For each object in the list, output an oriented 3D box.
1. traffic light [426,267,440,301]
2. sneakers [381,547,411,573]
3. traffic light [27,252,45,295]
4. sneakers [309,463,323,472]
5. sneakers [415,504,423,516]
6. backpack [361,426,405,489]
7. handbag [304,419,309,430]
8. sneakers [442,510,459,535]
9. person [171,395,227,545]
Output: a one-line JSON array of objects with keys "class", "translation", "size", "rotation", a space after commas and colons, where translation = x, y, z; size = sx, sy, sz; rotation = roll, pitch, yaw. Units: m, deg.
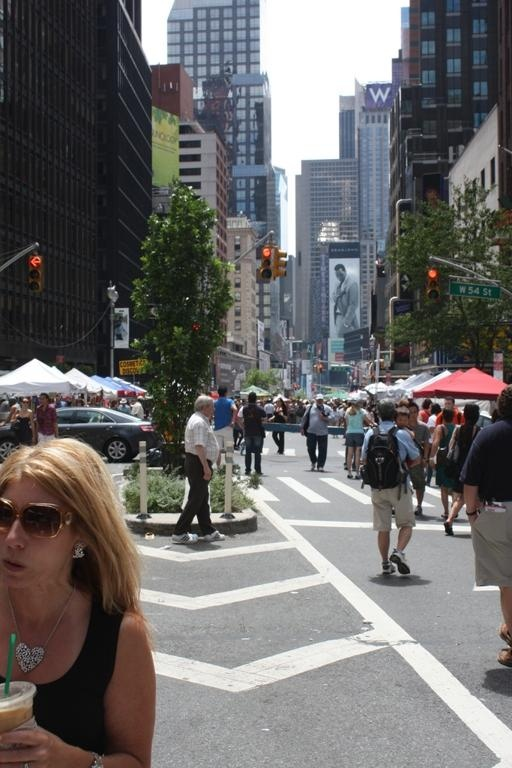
[{"class": "traffic light", "translation": [5.371, -3.065, 26.908], "size": [0.312, 0.648, 0.634], "rotation": [3, -1, 9]}, {"class": "sneakers", "translation": [1.395, 1.783, 8.843], "size": [0.145, 0.213, 0.414], "rotation": [-1, -27, 18]}, {"class": "traffic light", "translation": [-6.133, -3.091, 24.526], "size": [0.351, 0.970, 0.561], "rotation": [3, -1, -26]}, {"class": "sneakers", "translation": [1.548, 2.166, 22.863], "size": [0.135, 0.207, 0.407], "rotation": [-2, -3, -45]}, {"class": "sneakers", "translation": [2.602, 2.023, 14.152], "size": [0.071, 0.105, 0.246], "rotation": [-4, -31, 13]}, {"class": "backpack", "translation": [1.319, 0.756, 9.145], "size": [0.392, 0.682, 0.334], "rotation": [0, 1, 18]}, {"class": "handbag", "translation": [1.231, 1.035, 22.201], "size": [0.135, 0.271, 0.362], "rotation": [3, -1, 2]}, {"class": "sneakers", "translation": [2.656, 1.873, 12.081], "size": [0.162, 0.275, 0.579], "rotation": [-2, -7, 14]}, {"class": "person", "translation": [-0.709, 1.047, 10.912], "size": [0.573, 1.480, 0.799], "rotation": [2, -1, 6]}]
